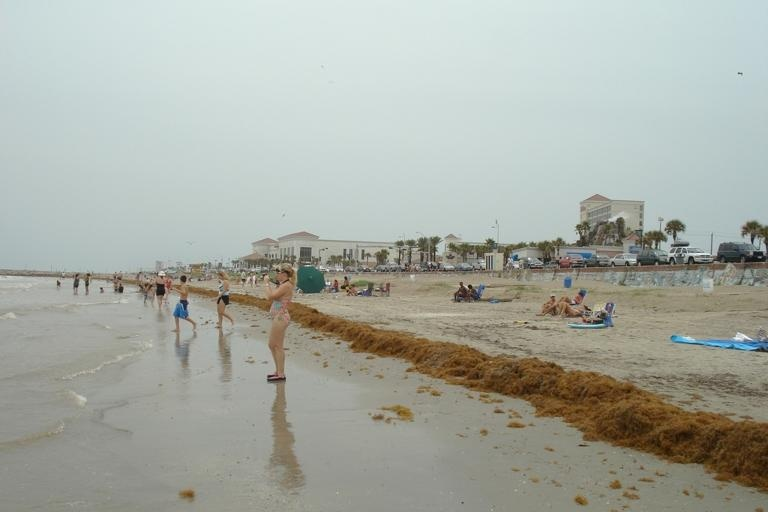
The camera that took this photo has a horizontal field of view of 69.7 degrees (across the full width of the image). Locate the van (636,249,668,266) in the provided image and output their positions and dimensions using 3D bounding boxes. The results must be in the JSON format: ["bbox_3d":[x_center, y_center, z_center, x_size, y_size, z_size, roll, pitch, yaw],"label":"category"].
[{"bbox_3d":[20.653,0.073,42.406,0.796,1.327,3.319,-2,7,-2],"label":"van"}]

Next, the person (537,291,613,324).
[{"bbox_3d":[7.643,2.110,21.800,2.076,0.826,1.337,0,7,34],"label":"person"}]

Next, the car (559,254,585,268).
[{"bbox_3d":[21.030,0.415,61.667,1.663,1.285,3.480,-1,-4,-5],"label":"car"}]

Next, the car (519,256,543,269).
[{"bbox_3d":[17.591,0.680,66.281,1.422,0.978,2.900,1,5,-8],"label":"car"}]

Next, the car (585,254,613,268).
[{"bbox_3d":[19.570,0.372,50.294,1.016,0.752,2.248,-1,-4,-8],"label":"car"}]

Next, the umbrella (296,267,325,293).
[{"bbox_3d":[-2.039,0.616,15.352,0.773,0.770,0.522,-21,3,11],"label":"umbrella"}]

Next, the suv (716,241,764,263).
[{"bbox_3d":[21.084,-0.208,32.606,1.371,1.194,2.346,0,-5,-13],"label":"suv"}]

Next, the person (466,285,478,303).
[{"bbox_3d":[5.613,2.261,34.717,0.680,0.885,0.994,1,8,14],"label":"person"}]

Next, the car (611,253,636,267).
[{"bbox_3d":[20.738,0.262,47.552,1.005,0.779,2.362,-1,-4,-11],"label":"car"}]

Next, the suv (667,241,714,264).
[{"bbox_3d":[19.688,-0.093,35.714,1.654,1.334,2.831,0,-4,-9],"label":"suv"}]
